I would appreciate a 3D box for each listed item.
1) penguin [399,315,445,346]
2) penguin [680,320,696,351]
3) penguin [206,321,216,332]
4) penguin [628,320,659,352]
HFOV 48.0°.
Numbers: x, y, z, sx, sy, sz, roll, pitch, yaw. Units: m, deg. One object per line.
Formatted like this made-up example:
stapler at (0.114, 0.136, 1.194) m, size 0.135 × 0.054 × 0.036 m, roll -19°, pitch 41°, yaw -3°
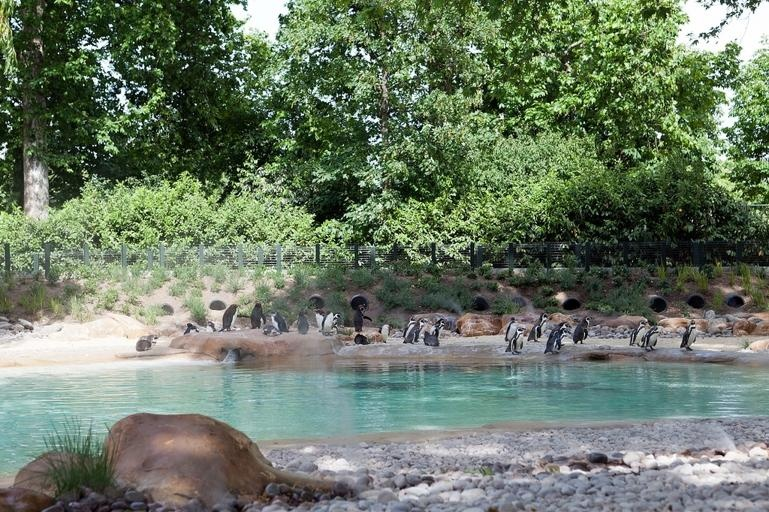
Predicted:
penguin at (1.637, 2.884, 31.217) m, size 1.299 × 1.035 × 0.771 m, roll 21°, pitch 10°, yaw -40°
penguin at (10.057, 2.622, 28.458) m, size 0.474 × 0.948 × 1.196 m, roll -2°, pitch -5°, yaw 19°
penguin at (-6.411, 2.592, 31.823) m, size 0.336 × 0.349 × 1.600 m, roll 0°, pitch -5°, yaw -11°
penguin at (8.715, 2.745, 28.994) m, size 1.157 × 0.975 × 0.754 m, roll -8°, pitch -6°, yaw 40°
